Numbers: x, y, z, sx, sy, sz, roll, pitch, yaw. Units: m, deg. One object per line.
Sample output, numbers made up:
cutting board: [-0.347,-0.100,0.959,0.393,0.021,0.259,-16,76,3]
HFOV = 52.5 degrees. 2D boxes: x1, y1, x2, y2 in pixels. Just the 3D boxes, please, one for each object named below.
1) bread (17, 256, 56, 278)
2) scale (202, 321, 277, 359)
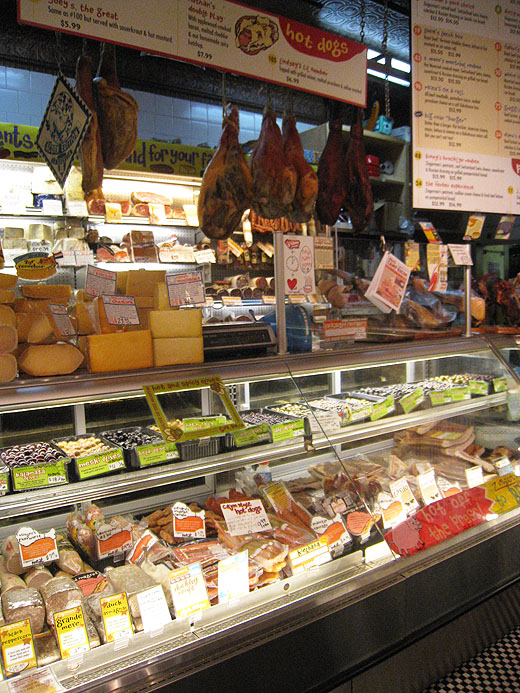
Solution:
bread: [-0.677,-0.214,1.614,0.129,0.042,0.116,-5,20,-16]
scale: [-0.095,-0.040,1.822,0.284,0.112,0.212,-6,10,-40]
